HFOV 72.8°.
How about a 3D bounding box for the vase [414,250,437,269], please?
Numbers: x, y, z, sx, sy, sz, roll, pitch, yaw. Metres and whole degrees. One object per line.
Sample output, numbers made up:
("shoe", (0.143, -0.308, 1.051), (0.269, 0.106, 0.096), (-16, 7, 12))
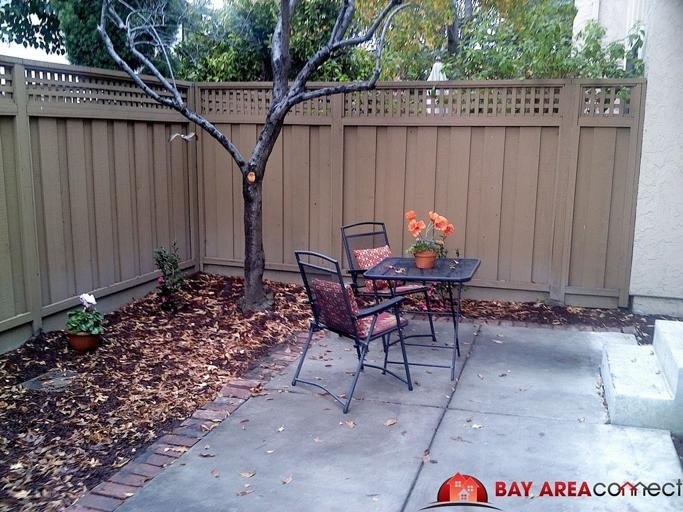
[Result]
("vase", (0.743, 0.023, 4.105), (0.166, 0.115, 0.166), (1, 0, 1))

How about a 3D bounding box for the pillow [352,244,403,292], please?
("pillow", (0.312, 0.120, 4.920), (0.488, 0.442, 0.139), (3, -9, -38))

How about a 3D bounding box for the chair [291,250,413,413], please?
("chair", (0.111, 0.512, 3.768), (0.842, 1.139, 0.934), (5, 9, 27))

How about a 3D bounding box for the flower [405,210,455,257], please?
("flower", (0.808, -0.196, 4.368), (0.428, 0.403, 0.443), (-18, -5, 19))

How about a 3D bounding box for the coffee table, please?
("coffee table", (0.771, 0.366, 4.276), (0.973, 0.944, 1.259), (0, 7, 17))

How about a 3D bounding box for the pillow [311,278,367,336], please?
("pillow", (-0.041, 0.335, 3.609), (0.478, 0.450, 0.398), (6, -3, 44))

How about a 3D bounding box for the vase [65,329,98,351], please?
("vase", (-2.322, 0.744, 4.108), (0.211, 0.133, 0.210), (1, -3, -2))

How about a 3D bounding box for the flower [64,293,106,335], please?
("flower", (-2.416, 0.544, 4.328), (0.274, 0.431, 0.616), (-8, 15, -27))
